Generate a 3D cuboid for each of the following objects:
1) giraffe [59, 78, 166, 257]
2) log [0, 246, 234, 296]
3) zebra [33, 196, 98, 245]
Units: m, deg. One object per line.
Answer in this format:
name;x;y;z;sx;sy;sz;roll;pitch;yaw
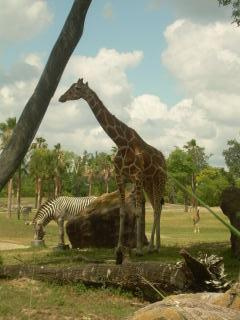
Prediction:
giraffe;0.109;0.185;12.680;2.543;4.402;1.384;1;-3;-17
log;-0.002;1.953;9.038;4.136;0.814;0.740;-3;-4;37
zebra;-1.783;1.965;17.498;2.624;1.716;0.745;-9;19;-21
